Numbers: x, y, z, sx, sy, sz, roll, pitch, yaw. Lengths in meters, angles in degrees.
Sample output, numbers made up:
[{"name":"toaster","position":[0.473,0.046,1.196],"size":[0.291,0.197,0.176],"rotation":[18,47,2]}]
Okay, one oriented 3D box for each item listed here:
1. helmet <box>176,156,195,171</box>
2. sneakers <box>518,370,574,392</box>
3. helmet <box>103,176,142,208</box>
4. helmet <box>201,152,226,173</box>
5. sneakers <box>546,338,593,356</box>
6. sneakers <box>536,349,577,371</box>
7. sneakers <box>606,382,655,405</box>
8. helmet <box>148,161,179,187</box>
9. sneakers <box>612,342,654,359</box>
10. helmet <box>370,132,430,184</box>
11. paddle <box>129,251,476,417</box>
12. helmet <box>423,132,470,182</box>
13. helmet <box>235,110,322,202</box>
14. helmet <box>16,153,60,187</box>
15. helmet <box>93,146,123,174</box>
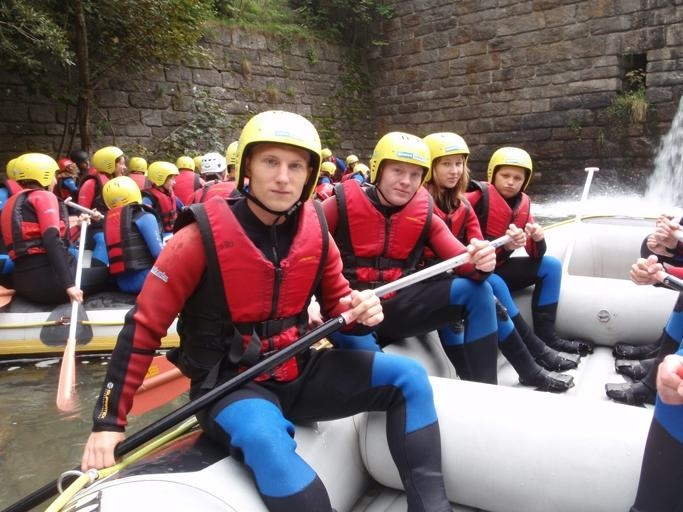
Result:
[{"name":"helmet","position":[-2.406,-1.407,8.588],"size":[0.228,0.263,0.310],"rotation":[10,7,-27]},{"name":"sneakers","position":[1.267,0.751,3.378],"size":[0.213,0.090,0.149],"rotation":[0,12,17]},{"name":"helmet","position":[-2.007,-0.570,5.035],"size":[0.344,0.362,0.272],"rotation":[-2,13,1]},{"name":"helmet","position":[-1.841,-1.314,7.990],"size":[0.293,0.339,0.418],"rotation":[-1,2,-5]},{"name":"sneakers","position":[1.604,0.629,3.918],"size":[0.332,0.097,0.131],"rotation":[8,22,19]},{"name":"sneakers","position":[1.431,0.688,3.674],"size":[0.227,0.097,0.156],"rotation":[1,18,10]},{"name":"sneakers","position":[1.648,0.769,3.196],"size":[0.269,0.124,0.153],"rotation":[0,2,18]},{"name":"helmet","position":[-2.256,-1.029,7.058],"size":[0.352,0.290,0.276],"rotation":[5,17,-16]},{"name":"sneakers","position":[1.974,0.632,3.787],"size":[0.282,0.104,0.108],"rotation":[-2,3,14]},{"name":"helmet","position":[0.335,-0.548,3.182],"size":[0.236,0.255,0.333],"rotation":[15,-16,-2]},{"name":"paddle","position":[-0.151,0.336,2.449],"size":[1.507,0.286,0.113],"rotation":[-30,31,-11]},{"name":"helmet","position":[0.675,-0.654,3.682],"size":[0.248,0.318,0.323],"rotation":[-7,8,-41]},{"name":"helmet","position":[-0.253,-0.449,2.387],"size":[0.279,0.360,0.375],"rotation":[9,-9,-15]},{"name":"helmet","position":[-2.606,-0.732,4.791],"size":[0.325,0.275,0.239],"rotation":[2,19,-39]},{"name":"helmet","position":[-2.997,-1.235,7.216],"size":[0.370,0.381,0.275],"rotation":[17,-2,-23]}]
